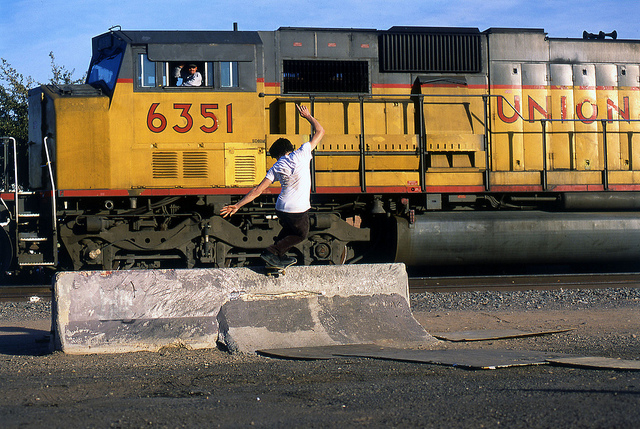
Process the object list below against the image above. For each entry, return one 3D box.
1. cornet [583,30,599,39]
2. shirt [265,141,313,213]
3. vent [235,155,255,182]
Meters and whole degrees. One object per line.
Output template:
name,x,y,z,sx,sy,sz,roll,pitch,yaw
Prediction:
cornet,5.988,-3.945,26.859,0.332,0.197,2.053,7,12,12
shirt,-0.495,-0.667,21.611,0.945,1.144,0.429,4,-2,30
vent,-1.585,-0.975,25.477,0.531,0.645,0.055,1,3,-2
